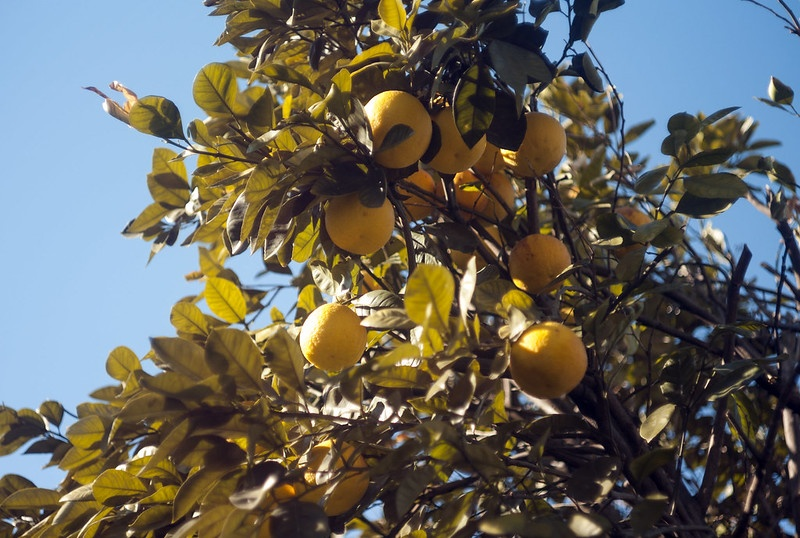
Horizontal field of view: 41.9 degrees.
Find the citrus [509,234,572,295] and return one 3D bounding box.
[{"bbox_3d":[0.536,-0.019,4.215,0.218,0.249,0.225,-5,-21,-15],"label":"citrus"}]

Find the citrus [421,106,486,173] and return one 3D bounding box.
[{"bbox_3d":[0.207,-0.477,4.048,0.210,0.224,0.287,3,-91,-12],"label":"citrus"}]

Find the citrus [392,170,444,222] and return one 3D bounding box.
[{"bbox_3d":[0.091,-0.314,4.301,0.198,0.215,0.269,5,-109,-8],"label":"citrus"}]

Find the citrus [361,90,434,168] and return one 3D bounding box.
[{"bbox_3d":[0.004,-0.575,4.055,0.248,0.256,0.331,-7,-66,-29],"label":"citrus"}]

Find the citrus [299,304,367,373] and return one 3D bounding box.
[{"bbox_3d":[-0.227,0.274,4.080,0.224,0.237,0.310,3,-94,15],"label":"citrus"}]

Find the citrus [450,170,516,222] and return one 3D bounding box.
[{"bbox_3d":[0.351,-0.299,4.410,0.204,0.219,0.302,4,-87,-11],"label":"citrus"}]
